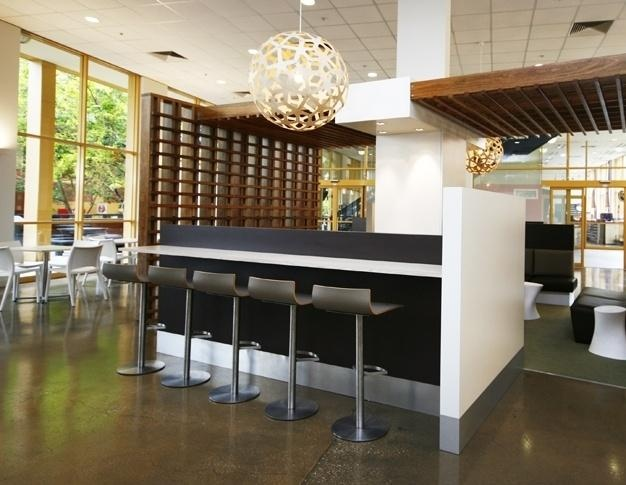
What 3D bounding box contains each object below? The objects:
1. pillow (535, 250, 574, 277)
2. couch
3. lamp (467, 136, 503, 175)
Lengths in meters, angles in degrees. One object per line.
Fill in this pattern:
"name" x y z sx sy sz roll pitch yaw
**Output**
"pillow" 4.660 0.372 9.148 0.904 0.633 0.476 1 -2 30
"couch" 4.472 0.418 8.814 1.635 1.413 0.831 -1 -5 34
"lamp" 3.366 -1.697 9.200 0.720 0.539 0.770 2 5 25
